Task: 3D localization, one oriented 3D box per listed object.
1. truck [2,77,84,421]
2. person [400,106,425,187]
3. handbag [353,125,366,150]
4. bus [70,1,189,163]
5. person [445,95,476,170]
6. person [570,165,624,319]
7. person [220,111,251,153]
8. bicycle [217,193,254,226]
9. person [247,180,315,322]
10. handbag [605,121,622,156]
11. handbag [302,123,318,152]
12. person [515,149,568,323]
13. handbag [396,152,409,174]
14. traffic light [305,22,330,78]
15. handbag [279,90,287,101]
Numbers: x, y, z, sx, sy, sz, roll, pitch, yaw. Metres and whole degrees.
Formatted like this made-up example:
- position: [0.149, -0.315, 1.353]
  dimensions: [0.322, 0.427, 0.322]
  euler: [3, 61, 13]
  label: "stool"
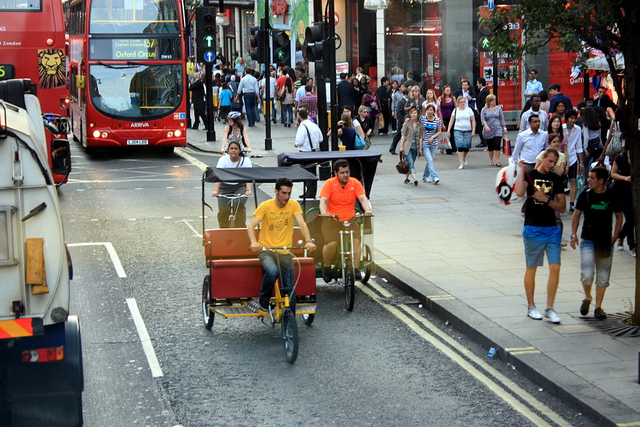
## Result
- position: [-3.069, 0.636, 7.480]
  dimensions: [0.798, 3.606, 1.534]
  euler: [-6, 13, -20]
  label: "truck"
- position: [2.607, -1.866, 19.888]
  dimensions: [0.530, 2.207, 1.096]
  euler: [3, 13, 19]
  label: "person"
- position: [1.070, -2.094, 19.413]
  dimensions: [0.307, 0.606, 0.407]
  euler: [-1, 13, 3]
  label: "handbag"
- position: [-7.049, -4.851, 25.620]
  dimensions: [4.755, 5.702, 2.875]
  euler: [-1, 12, 4]
  label: "bus"
- position: [4.554, -2.629, 22.668]
  dimensions: [0.917, 2.298, 0.878]
  euler: [-2, 8, 0]
  label: "person"
- position: [4.105, 0.413, 10.344]
  dimensions: [0.686, 2.168, 0.774]
  euler: [1, 13, 14]
  label: "person"
- position: [-2.087, -1.916, 16.864]
  dimensions: [0.893, 1.154, 0.947]
  euler: [0, 15, 0]
  label: "person"
- position: [-1.583, -0.213, 13.663]
  dimensions: [0.461, 0.788, 0.512]
  euler: [-8, 55, -6]
  label: "bicycle"
- position: [-0.591, 0.606, 10.314]
  dimensions: [0.875, 2.283, 1.591]
  euler: [-2, 13, -1]
  label: "person"
- position: [6.299, -1.563, 14.989]
  dimensions: [0.247, 0.719, 0.810]
  euler: [3, 14, 19]
  label: "handbag"
- position: [-0.181, -1.984, 18.261]
  dimensions: [0.169, 0.614, 0.434]
  euler: [-15, 6, 5]
  label: "handbag"
- position: [3.224, 0.303, 10.277]
  dimensions: [0.707, 2.413, 0.771]
  euler: [2, 13, 17]
  label: "person"
- position: [2.272, -1.373, 19.254]
  dimensions: [0.274, 0.516, 0.645]
  euler: [1, 13, 10]
  label: "handbag"
- position: [-0.064, -4.342, 18.652]
  dimensions: [0.594, 1.452, 0.540]
  euler: [-2, 12, -1]
  label: "traffic light"
- position: [-1.751, -5.585, 33.071]
  dimensions: [0.216, 0.545, 0.764]
  euler: [-5, 14, -16]
  label: "handbag"
